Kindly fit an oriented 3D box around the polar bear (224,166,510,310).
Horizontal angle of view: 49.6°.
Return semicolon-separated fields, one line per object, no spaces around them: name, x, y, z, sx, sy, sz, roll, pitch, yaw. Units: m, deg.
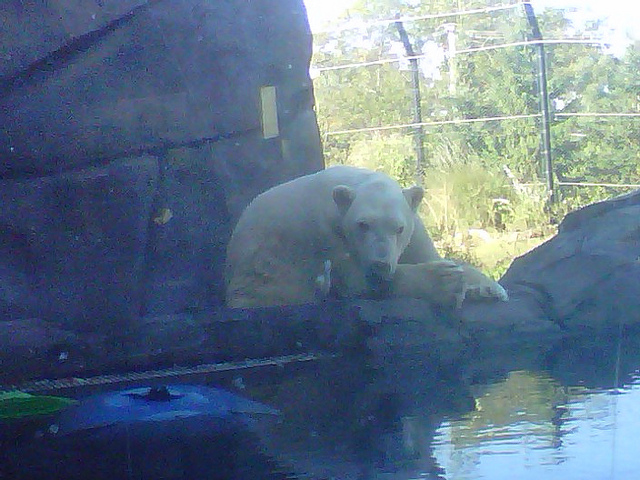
polar bear;0.148;0.000;2.525;0.951;0.457;0.503;-4;-2;23
